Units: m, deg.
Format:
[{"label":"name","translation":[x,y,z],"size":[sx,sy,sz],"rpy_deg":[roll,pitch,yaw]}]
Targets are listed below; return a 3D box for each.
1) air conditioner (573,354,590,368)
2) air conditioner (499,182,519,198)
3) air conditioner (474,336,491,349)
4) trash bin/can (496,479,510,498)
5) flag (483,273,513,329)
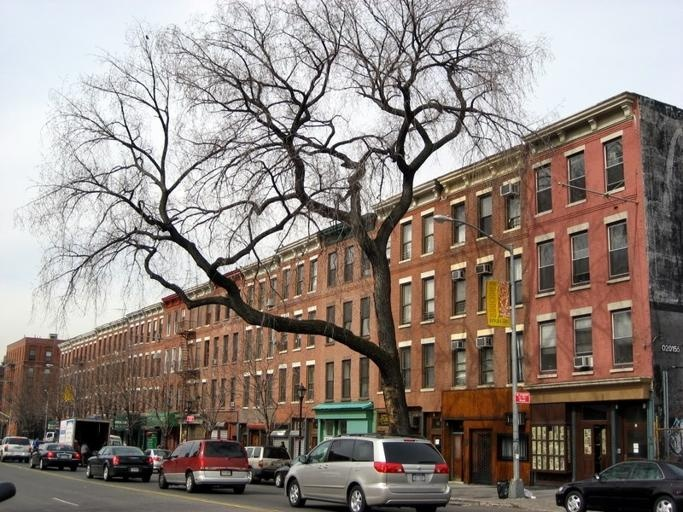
[{"label":"air conditioner","translation":[10.906,4.758,32.663],"size":[0.452,0.746,0.879],"rpy_deg":[2,-6,-17]},{"label":"air conditioner","translation":[8.605,-3.316,37.159],"size":[0.735,0.615,1.115],"rpy_deg":[12,-25,-28]},{"label":"air conditioner","translation":[7.447,4.470,37.584],"size":[0.731,0.567,0.897],"rpy_deg":[7,-14,-30]},{"label":"trash bin/can","translation":[6.543,9.337,29.106],"size":[0.471,0.666,0.513],"rpy_deg":[-2,-20,5]},{"label":"flag","translation":[7.503,2.134,34.401],"size":[2.018,3.370,0.296],"rpy_deg":[8,-13,-35]}]
